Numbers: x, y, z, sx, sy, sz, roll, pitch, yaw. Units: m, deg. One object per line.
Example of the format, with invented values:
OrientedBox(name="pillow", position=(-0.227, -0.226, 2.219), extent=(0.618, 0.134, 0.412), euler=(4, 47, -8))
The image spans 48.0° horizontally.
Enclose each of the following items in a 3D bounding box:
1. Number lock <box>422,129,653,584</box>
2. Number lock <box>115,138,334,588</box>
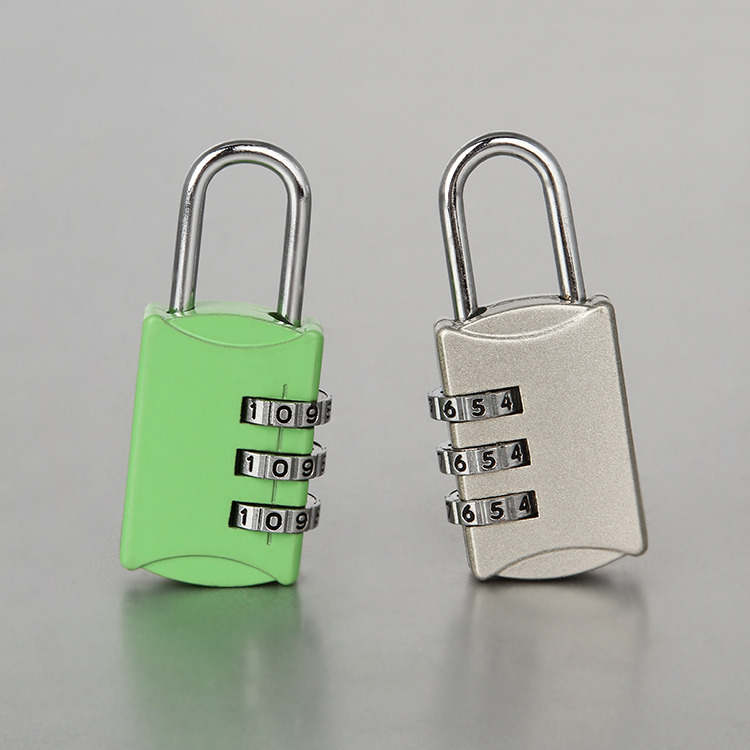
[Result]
OrientedBox(name="Number lock", position=(0.205, -0.025, 1.069), extent=(0.274, 0.558, 0.129), euler=(-1, 8, -6))
OrientedBox(name="Number lock", position=(-0.183, -0.013, 1.033), extent=(0.255, 0.538, 0.116), euler=(-1, 8, -6))
